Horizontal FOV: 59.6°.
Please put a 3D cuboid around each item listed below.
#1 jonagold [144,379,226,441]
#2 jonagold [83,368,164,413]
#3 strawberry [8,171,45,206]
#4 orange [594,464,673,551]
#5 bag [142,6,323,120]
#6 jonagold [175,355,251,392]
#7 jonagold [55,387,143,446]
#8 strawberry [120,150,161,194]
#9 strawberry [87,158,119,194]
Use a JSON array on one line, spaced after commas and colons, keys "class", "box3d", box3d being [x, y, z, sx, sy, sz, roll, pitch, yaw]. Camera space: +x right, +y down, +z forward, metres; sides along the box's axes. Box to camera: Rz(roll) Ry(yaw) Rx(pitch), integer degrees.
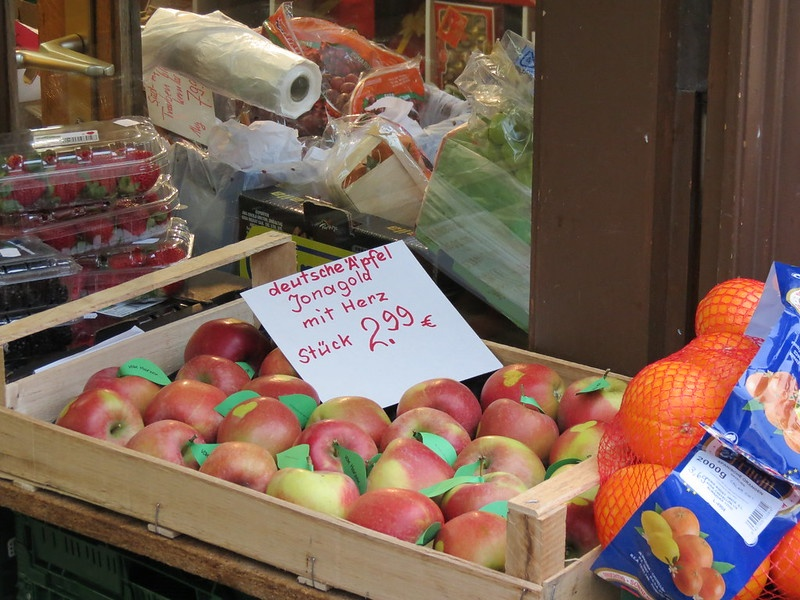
[{"class": "jonagold", "box3d": [-0.442, 0.192, 1.367, 0.089, 0.098, 0.092, 22, -2, -26]}, {"class": "jonagold", "box3d": [-0.561, 0.175, 1.399, 0.097, 0.108, 0.099, -3, -9, 36]}, {"class": "strawberry", "box3d": [-1.025, -0.306, 1.933, 0.073, 0.062, 0.077, -2, 31, 4]}, {"class": "orange", "box3d": [0.298, 0.278, 0.914, 0.087, 0.134, 0.058, 7, 20, 22]}, {"class": "bag", "box3d": [-0.546, -0.807, 2.288, 0.533, 0.228, 0.354, 30, 25, 28]}, {"class": "jonagold", "box3d": [-0.390, 0.158, 1.462, 0.093, 0.098, 0.102, 7, -9, -20]}, {"class": "jonagold", "box3d": [-0.560, 0.217, 1.288, 0.138, 0.080, 0.109, 7, 21, 19]}, {"class": "strawberry", "box3d": [-0.772, -0.381, 2.101, 0.092, 0.112, 0.109, -1, 21, -4]}, {"class": "strawberry", "box3d": [-0.861, -0.347, 2.021, 0.097, 0.085, 0.083, -22, 54, -34]}]
